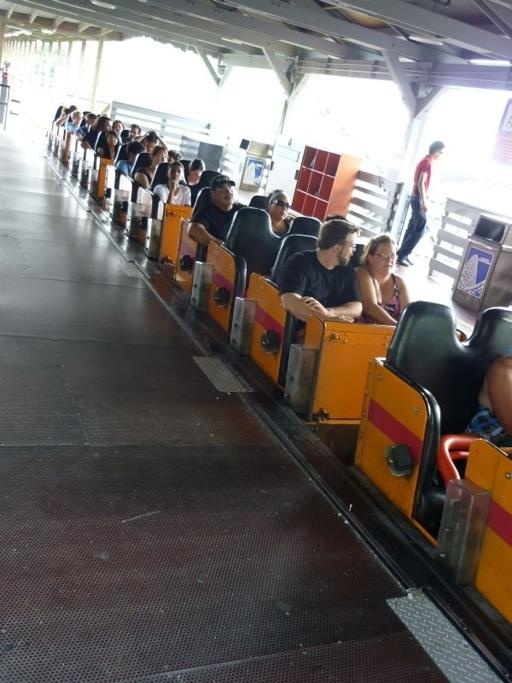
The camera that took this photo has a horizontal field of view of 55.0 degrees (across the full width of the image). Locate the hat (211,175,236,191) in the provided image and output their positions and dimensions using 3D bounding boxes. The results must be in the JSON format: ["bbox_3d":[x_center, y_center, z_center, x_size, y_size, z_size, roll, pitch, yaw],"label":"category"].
[{"bbox_3d":[-0.313,-1.500,4.663,0.184,0.088,0.132,-14,16,7],"label":"hat"}]
